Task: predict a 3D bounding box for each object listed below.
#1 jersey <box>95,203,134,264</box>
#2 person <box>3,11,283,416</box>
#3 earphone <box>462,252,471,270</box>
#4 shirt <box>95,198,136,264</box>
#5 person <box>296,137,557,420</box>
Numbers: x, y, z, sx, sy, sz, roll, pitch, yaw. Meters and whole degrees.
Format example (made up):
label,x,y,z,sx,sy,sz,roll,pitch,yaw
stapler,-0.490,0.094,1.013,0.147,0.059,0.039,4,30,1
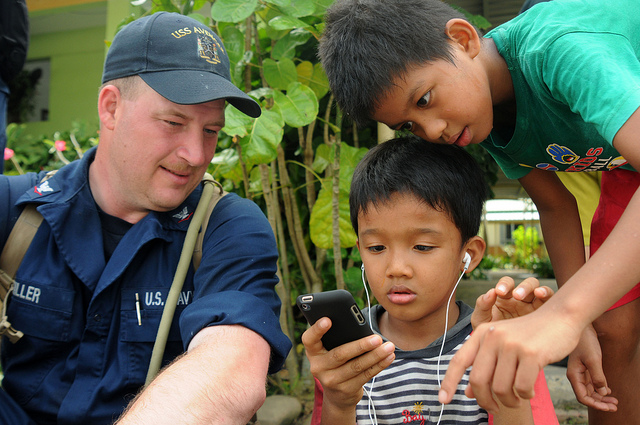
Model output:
label,x,y,z,sx,sy,sz,roll,pitch,yaw
jersey,-1.010,0.114,3.207,0.213,0.223,0.124,19,-15,36
person,-0.868,-0.004,3.021,1.431,1.932,0.825,0,0,6
earphone,0.696,0.223,3.108,0.017,0.063,0.045,11,12,-19
shirt,-1.004,0.101,3.208,0.240,0.250,0.138,27,-18,-33
person,0.512,0.293,3.020,1.098,1.344,0.769,0,0,16
